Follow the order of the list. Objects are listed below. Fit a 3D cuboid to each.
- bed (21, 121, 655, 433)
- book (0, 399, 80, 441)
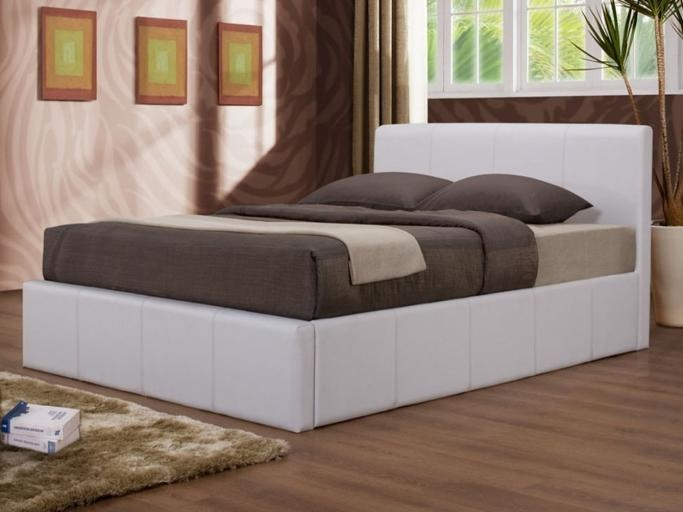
[{"bbox_3d":[0.267,0.199,3.008,2.499,0.987,1.750,-3,6,-39],"label":"bed"},{"bbox_3d":[-0.895,0.491,1.904,0.130,0.031,0.125,3,3,11],"label":"book"}]
